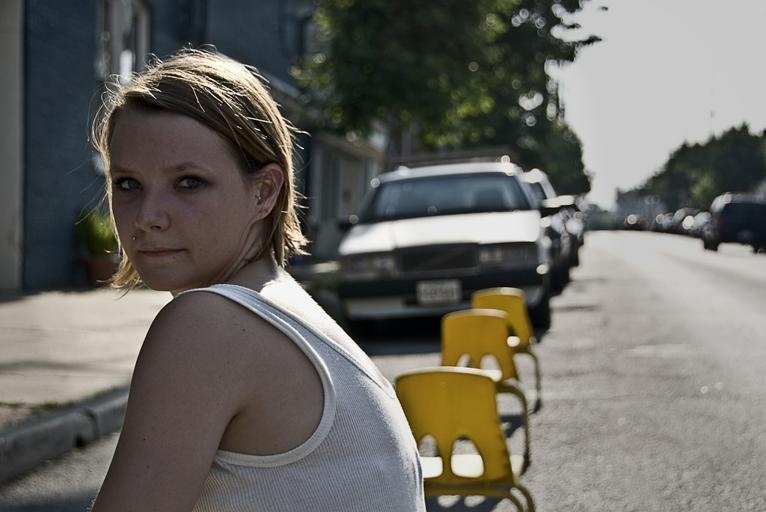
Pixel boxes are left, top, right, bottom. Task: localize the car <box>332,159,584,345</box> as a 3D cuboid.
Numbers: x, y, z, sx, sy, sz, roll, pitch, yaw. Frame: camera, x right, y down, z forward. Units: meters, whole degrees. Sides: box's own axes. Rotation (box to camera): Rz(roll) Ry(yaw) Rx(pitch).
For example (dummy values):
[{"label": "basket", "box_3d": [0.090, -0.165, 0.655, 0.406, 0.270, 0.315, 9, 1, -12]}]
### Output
[{"label": "car", "box_3d": [0.781, -0.021, 10.044, 1.519, 1.512, 3.198, -3, -4, 8]}]
